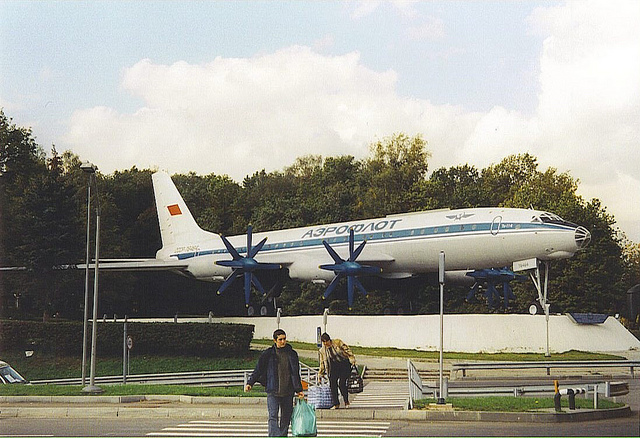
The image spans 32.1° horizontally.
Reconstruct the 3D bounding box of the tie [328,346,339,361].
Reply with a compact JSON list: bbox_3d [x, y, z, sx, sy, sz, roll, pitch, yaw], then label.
[{"bbox_3d":[0.564,5.858,48.429,0.214,0.813,0.140,-32,-7,-2],"label":"tie"}]

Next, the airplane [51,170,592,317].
[{"bbox_3d":[-0.194,2.036,77.739,41.743,9.155,15.834,-1,-4,10],"label":"airplane"}]

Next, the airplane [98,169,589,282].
[{"bbox_3d":[2.823,1.543,69.390,18.477,5.167,14.930,-2,1,40],"label":"airplane"}]
